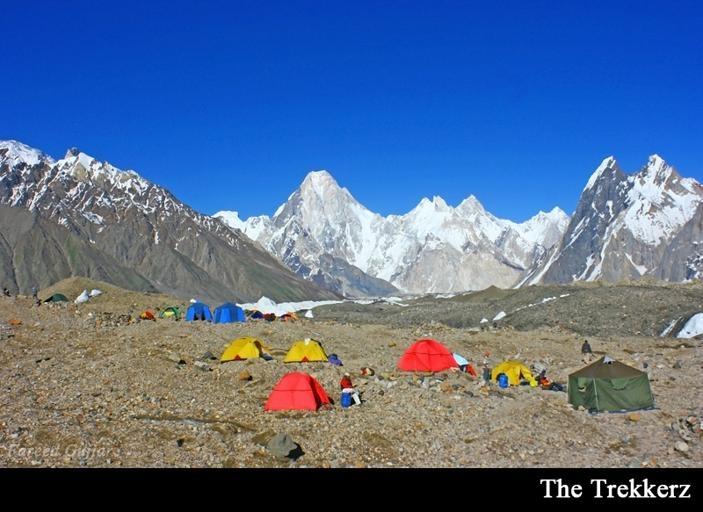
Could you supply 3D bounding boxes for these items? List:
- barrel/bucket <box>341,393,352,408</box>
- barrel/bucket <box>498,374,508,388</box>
[{"bbox_3d":[-0.393,8.066,33.179,0.718,1.071,0.630,9,-15,-38],"label":"barrel/bucket"},{"bbox_3d":[9.994,8.335,39.490,0.654,0.776,0.671,-2,-2,0],"label":"barrel/bucket"}]
